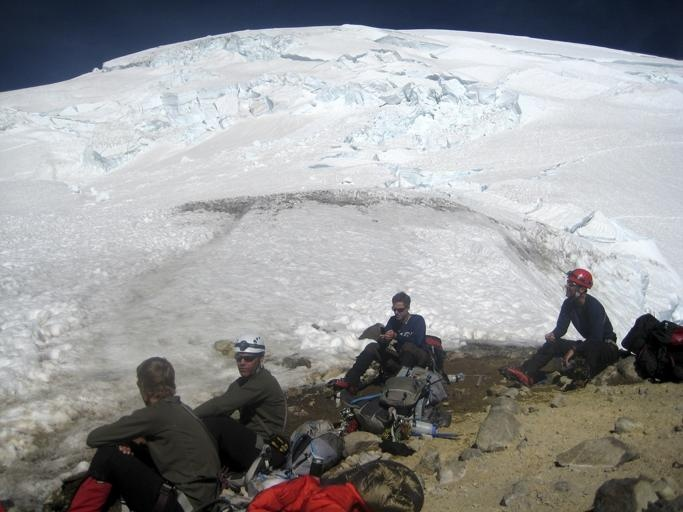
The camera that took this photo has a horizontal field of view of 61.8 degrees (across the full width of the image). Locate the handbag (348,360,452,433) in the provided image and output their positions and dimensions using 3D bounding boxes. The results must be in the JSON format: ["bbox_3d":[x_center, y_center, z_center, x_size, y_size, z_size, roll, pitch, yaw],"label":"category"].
[{"bbox_3d":[1.221,2.496,9.923,1.227,0.481,1.569,12,25,43],"label":"handbag"}]

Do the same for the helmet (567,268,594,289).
[{"bbox_3d":[4.680,0.412,11.230,0.426,0.230,0.534,0,21,-43],"label":"helmet"}]
